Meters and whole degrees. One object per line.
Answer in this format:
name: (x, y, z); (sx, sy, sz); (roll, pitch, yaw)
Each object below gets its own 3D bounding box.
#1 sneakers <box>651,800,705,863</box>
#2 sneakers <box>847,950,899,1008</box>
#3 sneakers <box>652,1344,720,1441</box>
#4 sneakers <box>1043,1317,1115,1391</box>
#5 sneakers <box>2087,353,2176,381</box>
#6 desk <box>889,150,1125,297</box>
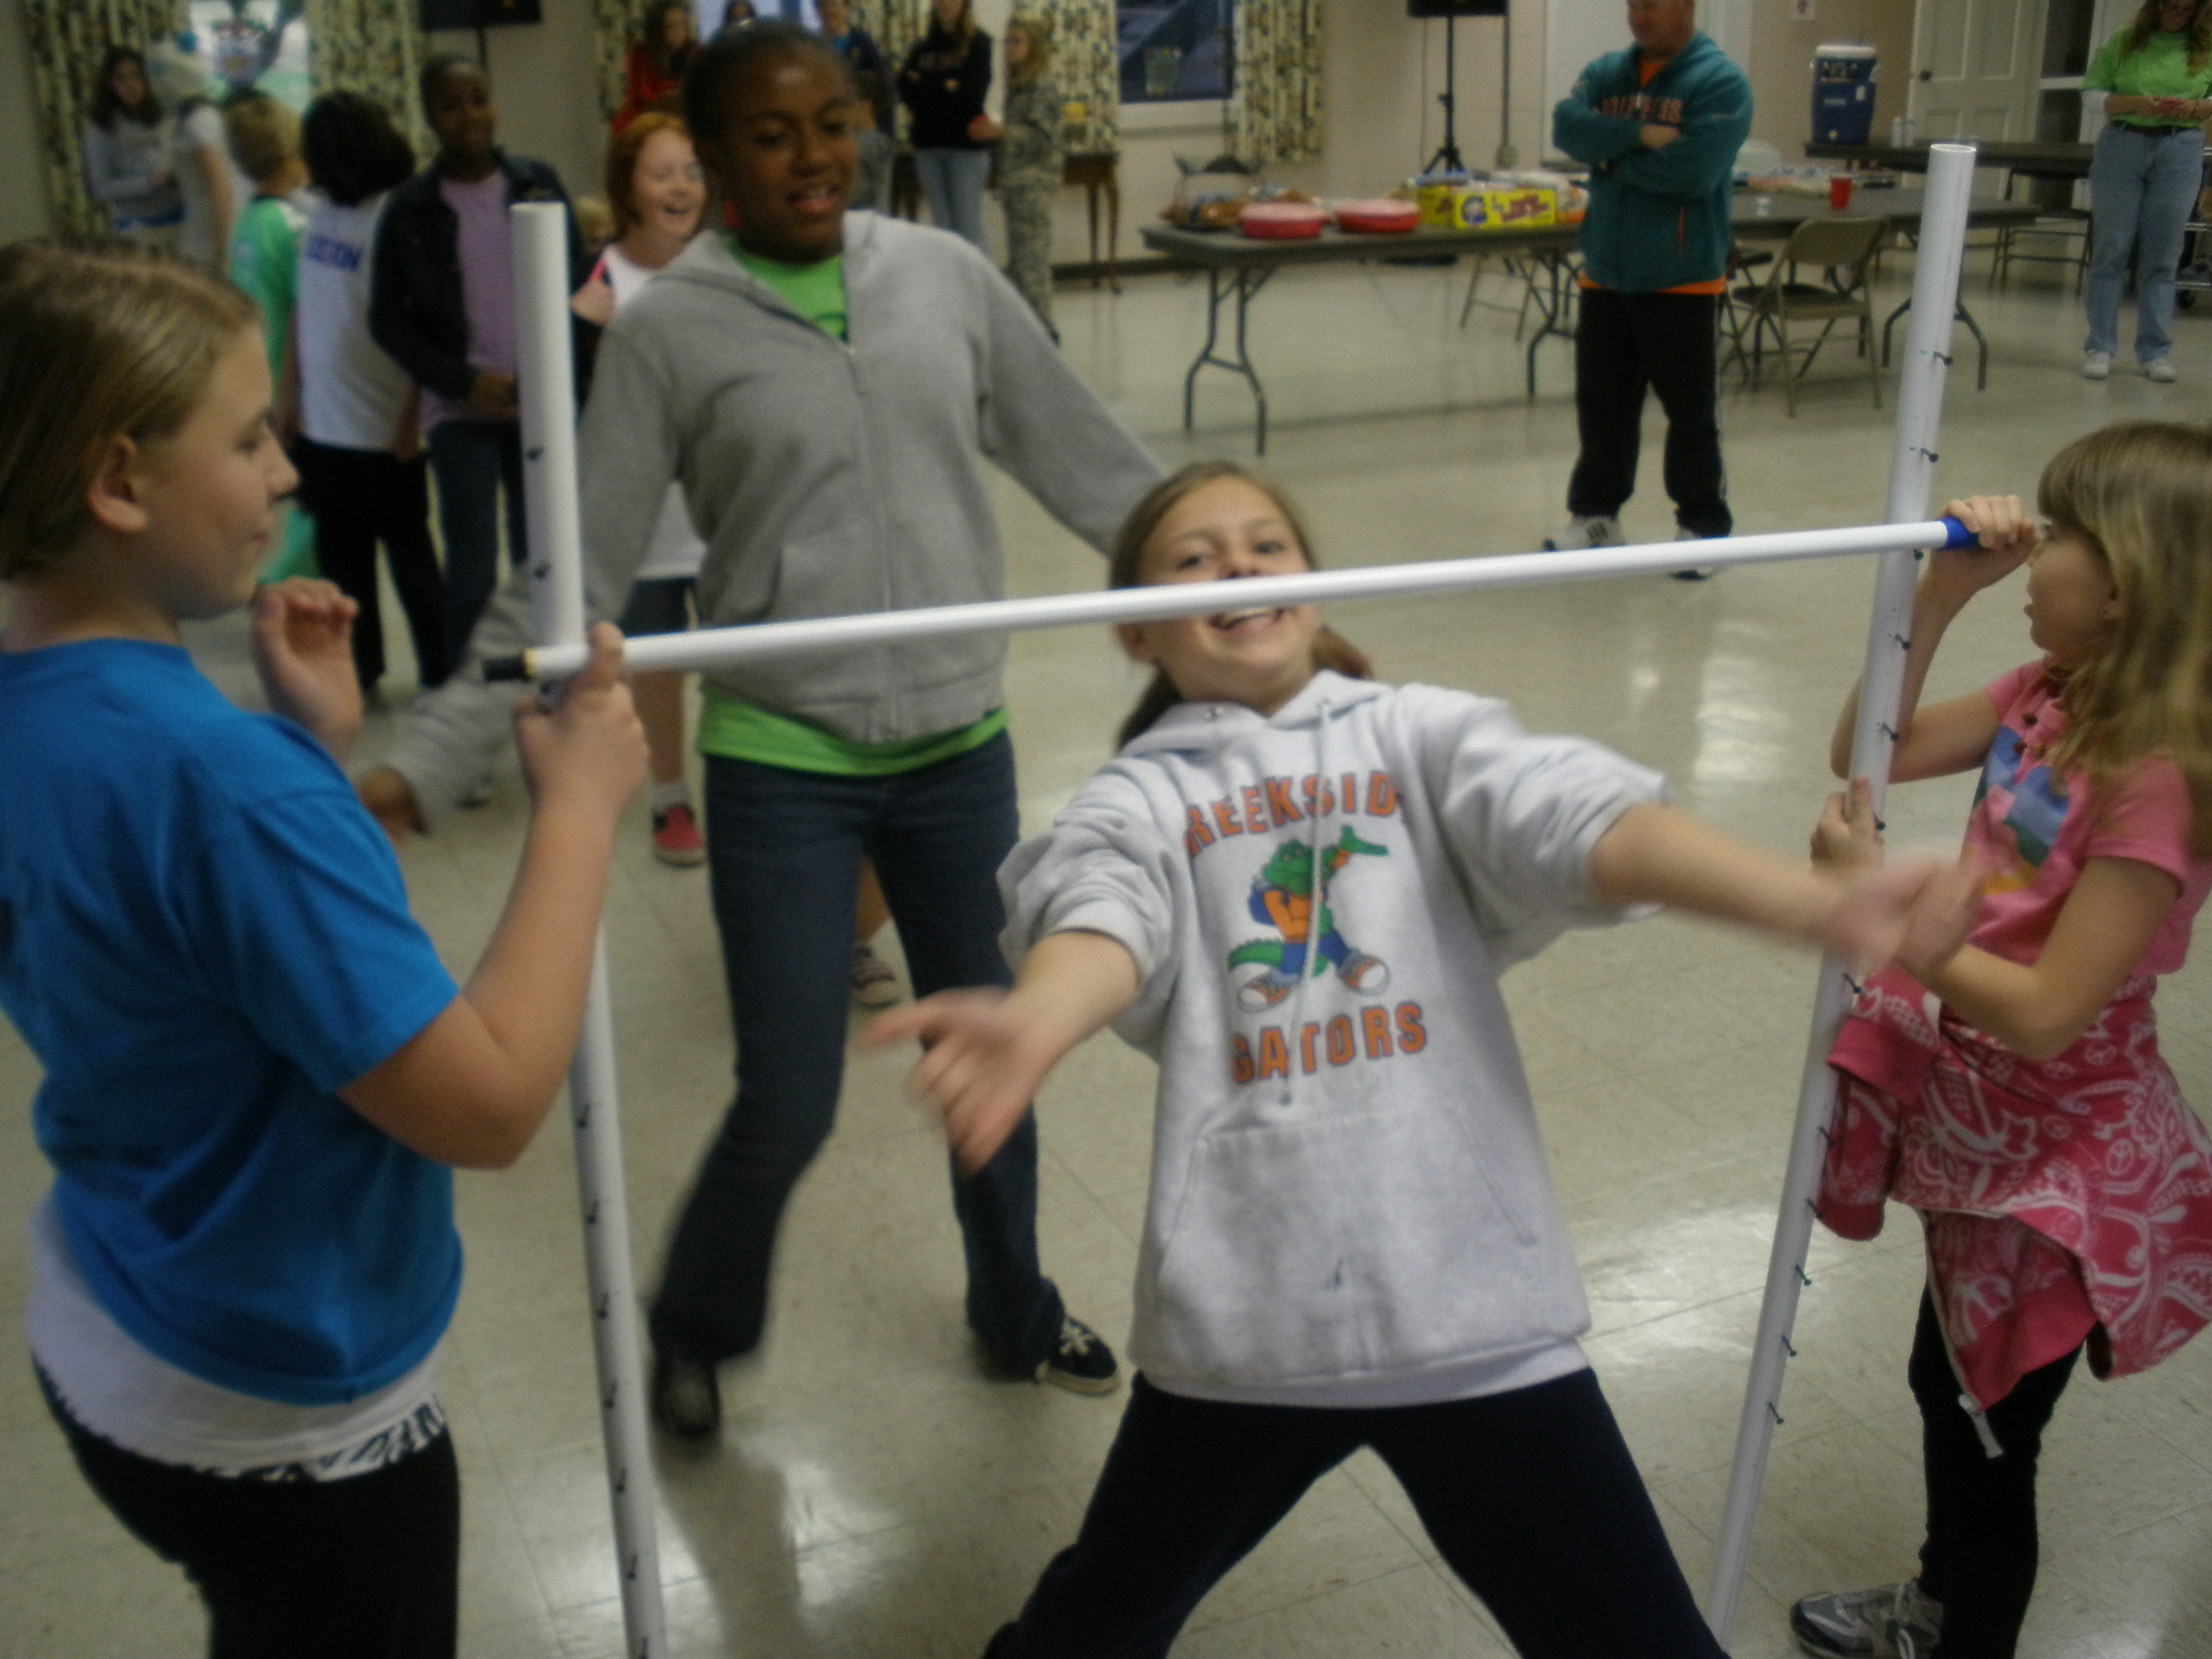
sneakers: (-0.977, -0.011, 4.308); (0.085, 0.124, 0.261); (-8, 16, -22)
sneakers: (-0.429, 0.277, 3.581); (0.051, 0.059, 0.142); (-8, 17, -22)
sneakers: (-0.545, 0.748, 2.493); (0.089, 0.132, 0.042); (-12, 8, -15)
sneakers: (-0.021, 0.714, 2.608); (0.139, 0.064, 0.054); (9, 34, 19)
sneakers: (4.769, -2.149, 8.755); (0.366, 0.168, 0.126); (11, 28, 36)
desk: (-0.343, -4.326, 13.285); (0.994, 0.975, 0.831); (-1, 26, 4)
